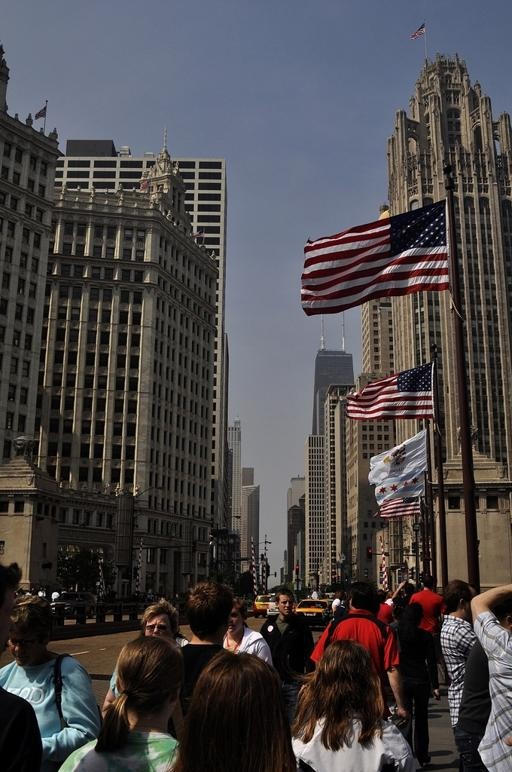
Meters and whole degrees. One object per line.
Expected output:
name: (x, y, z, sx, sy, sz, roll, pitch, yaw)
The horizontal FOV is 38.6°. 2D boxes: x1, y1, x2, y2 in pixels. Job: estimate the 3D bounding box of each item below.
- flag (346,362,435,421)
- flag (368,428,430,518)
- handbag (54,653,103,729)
flag: (4.327, 0.111, 22.657, 3.022, 2.078, 0.887, 4, -14, -15)
flag: (5.417, 3.285, 27.429, 2.009, 2.791, 3.523, -2, -14, 12)
handbag: (-1.041, 1.820, 4.309, 0.307, 0.424, 0.422, 6, -15, -22)
